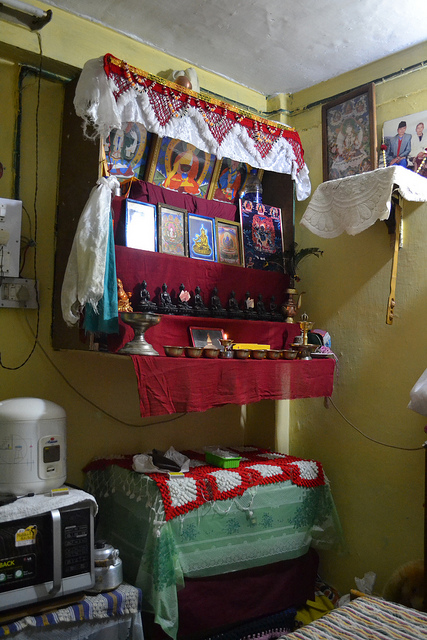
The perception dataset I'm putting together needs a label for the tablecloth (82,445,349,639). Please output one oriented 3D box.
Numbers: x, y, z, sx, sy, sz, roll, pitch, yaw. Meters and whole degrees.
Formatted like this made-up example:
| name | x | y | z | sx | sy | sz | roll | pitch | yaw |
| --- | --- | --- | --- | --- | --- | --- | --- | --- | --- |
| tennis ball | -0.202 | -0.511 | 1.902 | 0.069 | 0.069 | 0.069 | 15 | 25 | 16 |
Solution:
| name | x | y | z | sx | sy | sz | roll | pitch | yaw |
| --- | --- | --- | --- | --- | --- | --- | --- | --- | --- |
| tablecloth | 0.013 | 1.071 | 2.634 | 1.247 | 0.839 | 0.732 | -4 | 2 | -39 |
